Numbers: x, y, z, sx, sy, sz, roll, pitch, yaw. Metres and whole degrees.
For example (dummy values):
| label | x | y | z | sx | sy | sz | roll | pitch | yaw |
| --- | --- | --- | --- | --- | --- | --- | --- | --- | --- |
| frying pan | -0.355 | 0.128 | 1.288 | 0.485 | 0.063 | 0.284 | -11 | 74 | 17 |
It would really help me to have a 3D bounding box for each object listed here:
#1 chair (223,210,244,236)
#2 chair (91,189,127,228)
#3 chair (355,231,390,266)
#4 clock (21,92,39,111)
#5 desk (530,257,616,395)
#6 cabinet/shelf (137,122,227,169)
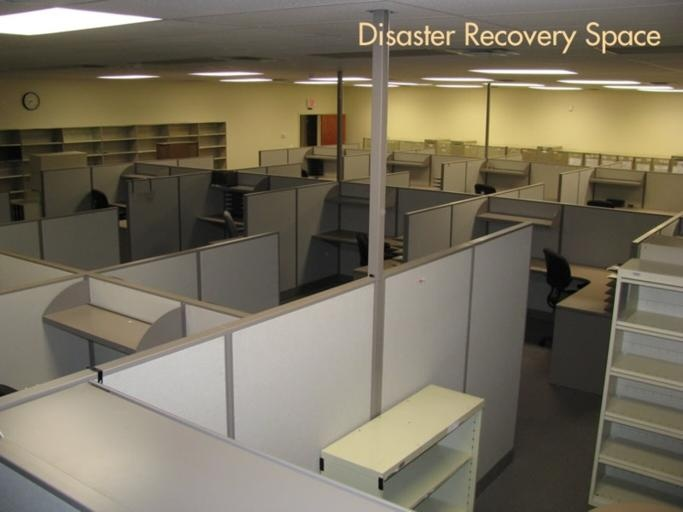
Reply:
| label | x | y | z | sx | sy | sz | roll | pitch | yaw |
| --- | --- | --- | --- | --- | --- | --- | --- | --- | --- |
| chair | -1.368 | -0.432 | 7.029 | 0.201 | 0.341 | 0.201 | -13 | 34 | -12 |
| chair | -3.257 | -0.704 | 7.807 | 0.423 | 0.505 | 1.274 | -7 | 10 | -36 |
| chair | 0.391 | -0.053 | 6.194 | 0.381 | 0.401 | 0.341 | -6 | 17 | -26 |
| clock | -5.839 | -2.915 | 10.322 | 0.092 | 0.343 | 0.331 | 1 | 8 | 19 |
| desk | 2.049 | 0.514 | 5.104 | 0.842 | 0.610 | 1.145 | 9 | 20 | 30 |
| cabinet/shelf | -3.707 | -2.702 | 13.143 | 0.393 | 1.122 | 2.247 | 5 | 10 | 38 |
